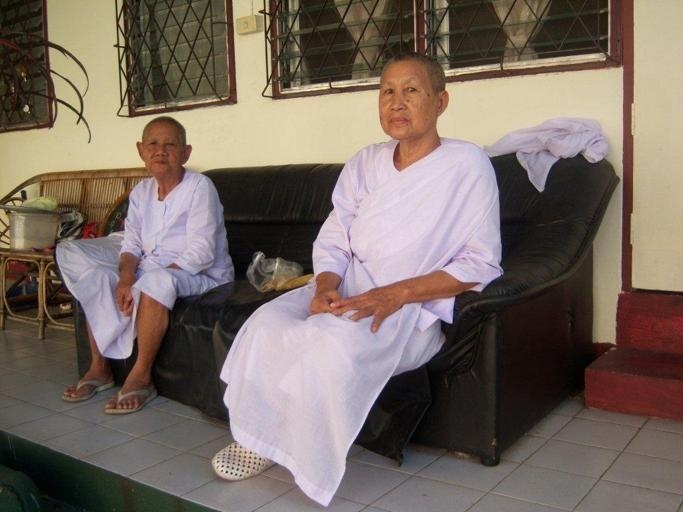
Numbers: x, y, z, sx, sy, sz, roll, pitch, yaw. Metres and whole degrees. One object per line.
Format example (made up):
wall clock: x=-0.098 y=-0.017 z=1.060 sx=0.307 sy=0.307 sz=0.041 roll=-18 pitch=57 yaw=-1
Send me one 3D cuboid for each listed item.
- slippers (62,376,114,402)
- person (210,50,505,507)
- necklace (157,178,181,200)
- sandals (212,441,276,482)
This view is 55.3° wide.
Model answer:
slippers: x=-1.322 y=0.695 z=3.409 sx=0.097 sy=0.054 sz=0.184 roll=4 pitch=5 yaw=30
person: x=0.079 y=0.021 z=2.630 sx=1.120 sy=1.638 sz=0.582 roll=-8 pitch=12 yaw=-32
necklace: x=-0.941 y=-0.370 z=3.579 sx=0.088 sy=0.100 sz=0.123 roll=-1 pitch=0 yaw=10
sandals: x=-0.377 y=0.835 z=2.671 sx=0.108 sy=0.117 sz=0.273 roll=-25 pitch=-15 yaw=41
